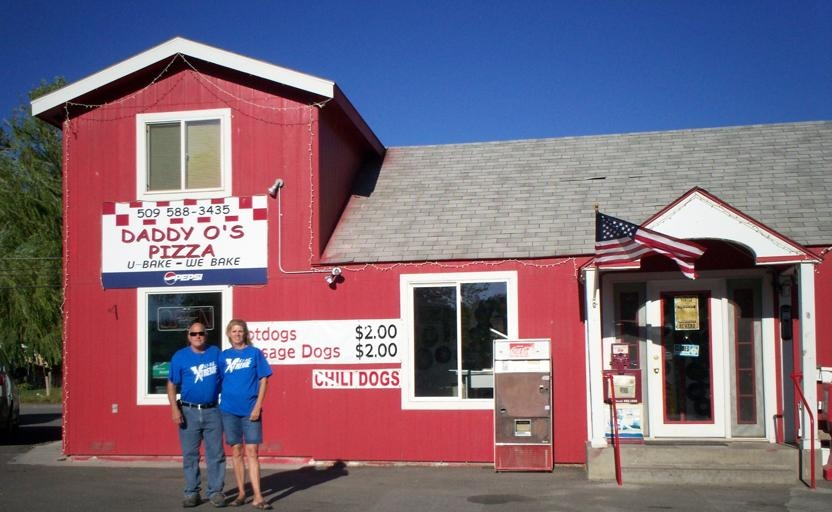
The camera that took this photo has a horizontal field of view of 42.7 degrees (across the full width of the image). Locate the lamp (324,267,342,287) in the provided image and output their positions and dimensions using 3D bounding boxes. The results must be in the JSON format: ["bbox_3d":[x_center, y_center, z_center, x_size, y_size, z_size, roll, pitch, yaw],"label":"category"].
[{"bbox_3d":[-1.755,0.478,22.987,0.402,0.453,0.152,-4,9,-7],"label":"lamp"}]

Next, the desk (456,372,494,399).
[{"bbox_3d":[1.292,2.736,22.565,0.622,0.548,0.368,0,-8,4],"label":"desk"}]

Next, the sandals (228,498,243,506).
[{"bbox_3d":[-3.390,4.612,20.037,0.145,0.098,0.261,-10,-20,35],"label":"sandals"}]

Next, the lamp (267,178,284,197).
[{"bbox_3d":[-3.057,-1.476,23.308,0.345,0.399,0.145,-7,10,-25],"label":"lamp"}]

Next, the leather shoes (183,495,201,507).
[{"bbox_3d":[-4.230,4.587,20.139,0.349,0.236,0.256,-5,9,-16],"label":"leather shoes"}]

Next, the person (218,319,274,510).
[{"bbox_3d":[-3.247,2.961,20.149,0.952,3.465,0.972,-2,9,7],"label":"person"}]

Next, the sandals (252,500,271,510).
[{"bbox_3d":[-2.858,4.643,19.917,0.298,0.103,0.154,-6,-6,36],"label":"sandals"}]

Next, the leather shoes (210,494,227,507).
[{"bbox_3d":[-3.723,4.577,20.057,0.302,0.240,0.235,-4,9,-11],"label":"leather shoes"}]
